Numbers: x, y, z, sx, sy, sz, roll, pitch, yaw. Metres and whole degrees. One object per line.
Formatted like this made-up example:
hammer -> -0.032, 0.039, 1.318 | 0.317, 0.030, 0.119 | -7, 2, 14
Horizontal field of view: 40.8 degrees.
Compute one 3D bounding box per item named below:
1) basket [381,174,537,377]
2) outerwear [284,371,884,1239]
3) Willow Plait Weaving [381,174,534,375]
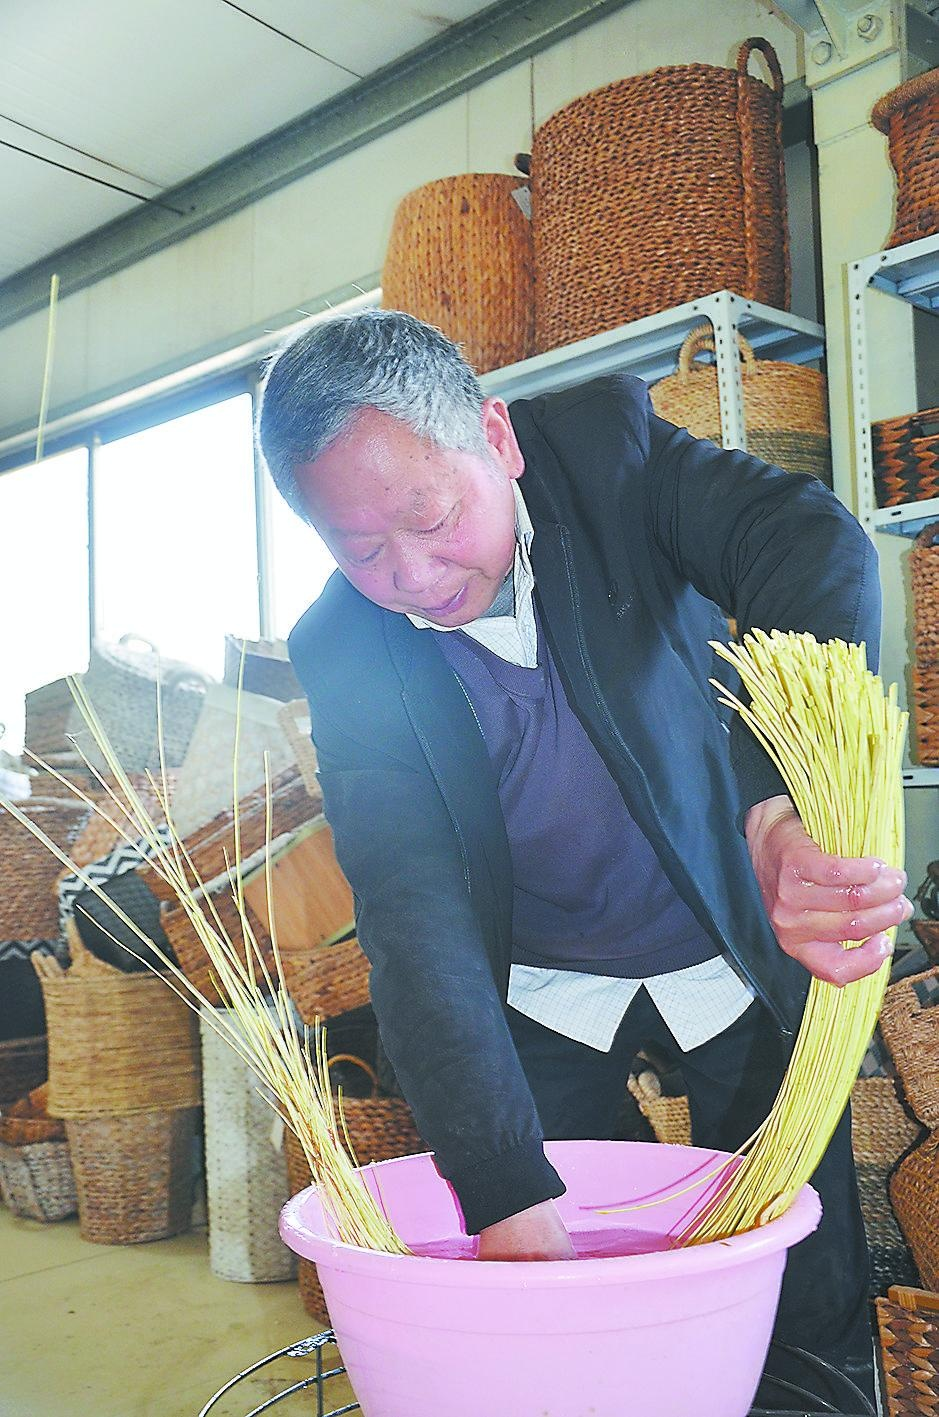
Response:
basket -> 0.082, -1.021, 2.827 | 0.388, 0.356, 0.386 | 4, 31, 15
outerwear -> 0.134, 0.124, 1.095 | 0.457, 0.429, 0.627 | -20, 38, 4
Willow Plait Weaving -> -0.072, -0.996, 2.849 | 0.382, 0.350, 0.373 | -5, 22, -11
